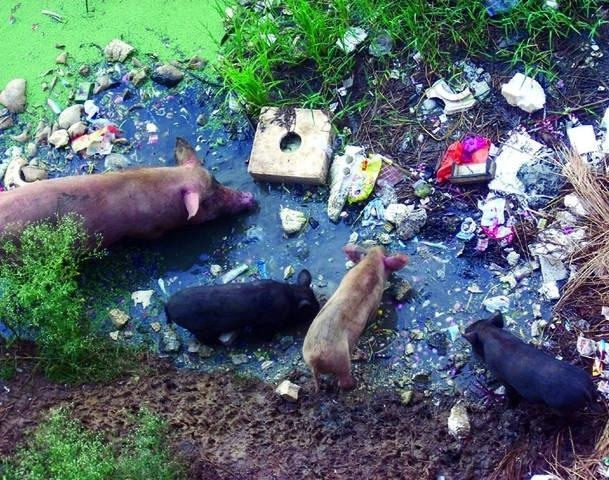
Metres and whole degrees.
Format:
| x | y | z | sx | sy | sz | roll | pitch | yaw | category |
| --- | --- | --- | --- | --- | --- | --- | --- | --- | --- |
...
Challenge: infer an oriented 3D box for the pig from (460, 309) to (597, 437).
| x | y | z | sx | sy | sz | roll | pitch | yaw | category |
| --- | --- | --- | --- | --- | --- | --- | --- | --- | --- |
| 2.116 | 1.222 | 5.436 | 0.526 | 0.787 | 1.314 | -42 | 71 | -16 | pig |

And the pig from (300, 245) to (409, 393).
| x | y | z | sx | sy | sz | roll | pitch | yaw | category |
| --- | --- | --- | --- | --- | --- | --- | --- | --- | --- |
| 0.484 | 0.754 | 5.802 | 0.612 | 0.763 | 1.527 | 21 | 68 | 11 | pig |
